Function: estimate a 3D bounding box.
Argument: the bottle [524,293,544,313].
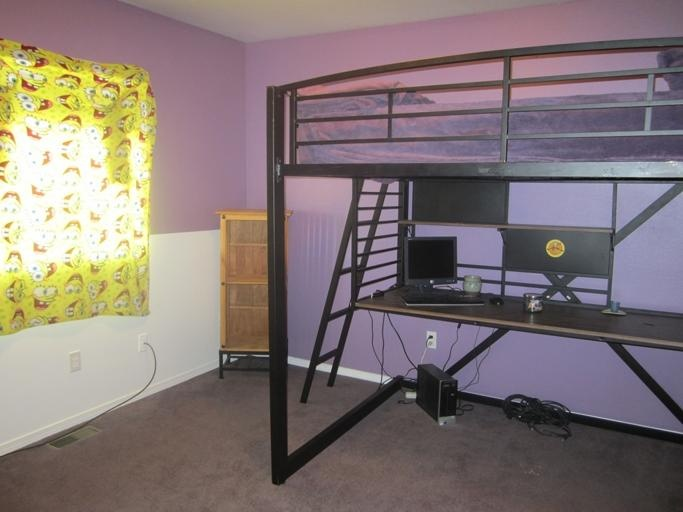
[{"bbox_3d":[1.349,0.325,3.617,0.125,0.115,0.123,0,0,5],"label":"bottle"}]

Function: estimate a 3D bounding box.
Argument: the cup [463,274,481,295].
[{"bbox_3d":[0.983,0.213,3.946,0.135,0.142,0.132,1,-6,0],"label":"cup"}]

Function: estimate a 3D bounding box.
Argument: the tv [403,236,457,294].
[{"bbox_3d":[0.700,0.063,4.075,0.453,0.440,0.185,0,-3,-11],"label":"tv"}]
